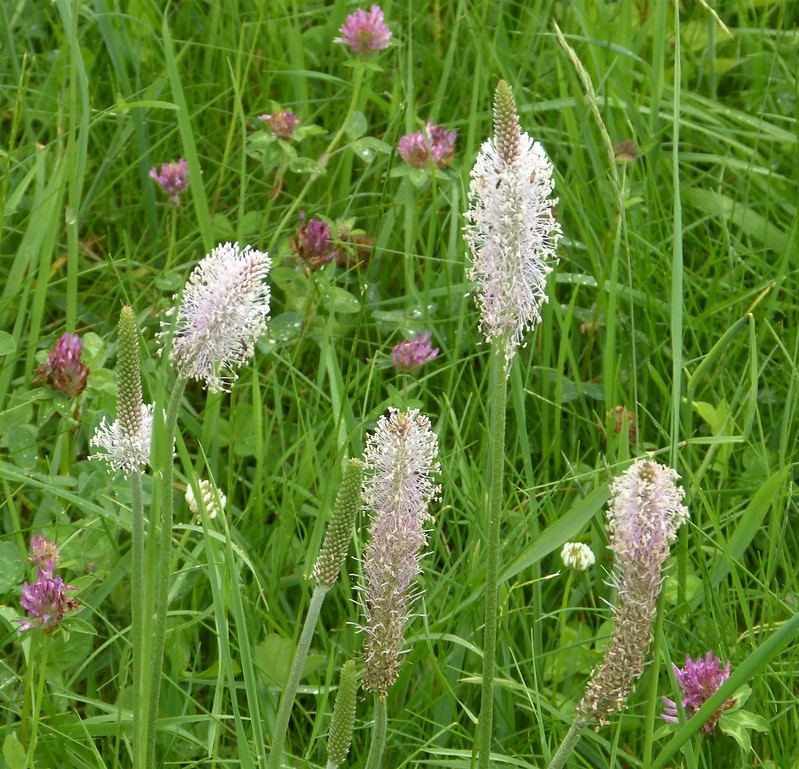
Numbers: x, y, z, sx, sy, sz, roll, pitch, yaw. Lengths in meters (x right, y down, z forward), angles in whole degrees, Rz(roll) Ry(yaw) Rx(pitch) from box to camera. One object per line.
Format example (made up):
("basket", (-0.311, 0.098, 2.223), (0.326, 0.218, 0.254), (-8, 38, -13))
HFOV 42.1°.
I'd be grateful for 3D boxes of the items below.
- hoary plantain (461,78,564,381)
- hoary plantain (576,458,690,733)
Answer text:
("hoary plantain", (0.204, -0.205, 1.886), (0.154, 0.638, 0.183), (-1, 21, -5))
("hoary plantain", (0.399, 0.364, 1.807), (0.133, 0.289, 0.402), (14, 55, 13))
